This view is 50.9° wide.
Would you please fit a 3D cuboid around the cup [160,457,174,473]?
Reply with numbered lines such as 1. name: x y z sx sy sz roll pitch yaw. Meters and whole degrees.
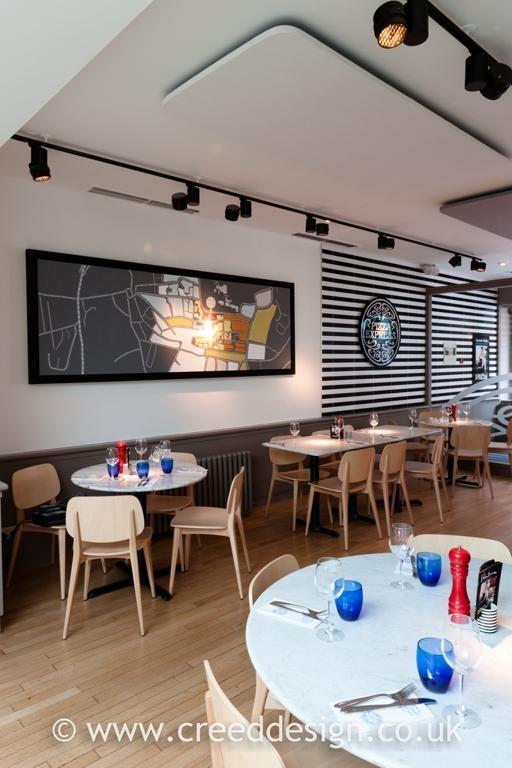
1. cup: -0.553 0.504 3.341 0.081 0.110 0.085 -1 0 0

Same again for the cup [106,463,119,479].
1. cup: -0.839 0.512 3.169 0.074 0.096 0.078 1 -3 0

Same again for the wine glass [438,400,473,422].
1. wine glass: 2.235 0.326 6.070 0.281 0.393 0.298 -2 -2 39

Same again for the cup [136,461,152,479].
1. cup: -0.645 0.496 3.110 0.088 0.111 0.092 -1 -1 0

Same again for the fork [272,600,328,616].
1. fork: 0.114 0.620 1.489 0.139 0.012 0.046 -3 6 35

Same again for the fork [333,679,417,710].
1. fork: 0.243 0.618 1.063 0.211 0.018 0.052 2 7 -29

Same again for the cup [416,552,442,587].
1. cup: 0.516 0.558 1.664 0.087 0.109 0.092 -2 -3 0

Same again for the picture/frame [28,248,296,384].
1. picture/frame: -0.606 -0.492 4.501 2.390 0.978 0.019 -3 9 -39
